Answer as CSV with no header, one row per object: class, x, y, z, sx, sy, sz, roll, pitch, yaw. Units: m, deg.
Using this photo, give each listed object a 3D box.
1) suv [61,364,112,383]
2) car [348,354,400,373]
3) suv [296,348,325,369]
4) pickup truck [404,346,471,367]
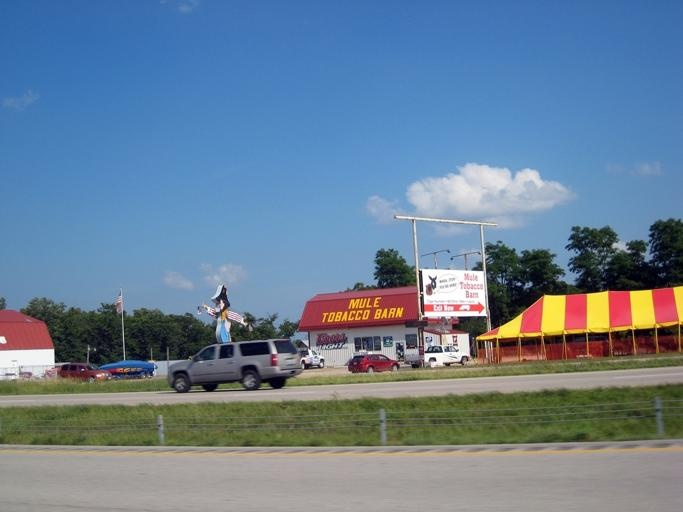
suv,-16.577,7.405,66.992,2.915,1.012,1.333,-4,-6,24
car,1.815,6.350,62.305,2.501,0.824,1.252,-2,1,-39
suv,-2.344,7.576,79.739,1.808,1.551,3.285,1,-11,-12
pickup truck,6.730,6.668,70.065,3.717,1.268,1.773,-1,0,-30
